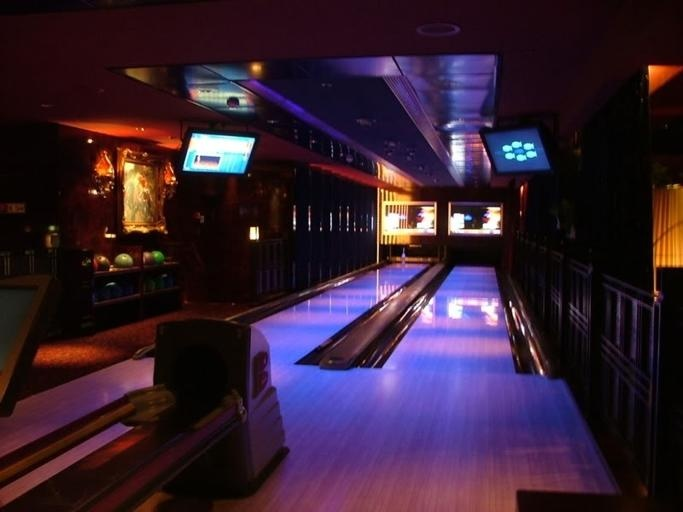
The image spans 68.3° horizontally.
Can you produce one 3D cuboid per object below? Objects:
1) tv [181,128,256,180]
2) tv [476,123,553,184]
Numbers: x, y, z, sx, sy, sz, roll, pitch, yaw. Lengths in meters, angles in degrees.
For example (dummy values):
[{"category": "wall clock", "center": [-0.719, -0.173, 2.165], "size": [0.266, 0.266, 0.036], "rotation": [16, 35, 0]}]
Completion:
[{"category": "tv", "center": [-1.442, -1.169, 5.943], "size": [0.806, 0.595, 0.595], "rotation": [4, -30, 0]}, {"category": "tv", "center": [1.817, -1.052, 5.251], "size": [0.715, 0.862, 0.156], "rotation": [9, -36, 12]}]
